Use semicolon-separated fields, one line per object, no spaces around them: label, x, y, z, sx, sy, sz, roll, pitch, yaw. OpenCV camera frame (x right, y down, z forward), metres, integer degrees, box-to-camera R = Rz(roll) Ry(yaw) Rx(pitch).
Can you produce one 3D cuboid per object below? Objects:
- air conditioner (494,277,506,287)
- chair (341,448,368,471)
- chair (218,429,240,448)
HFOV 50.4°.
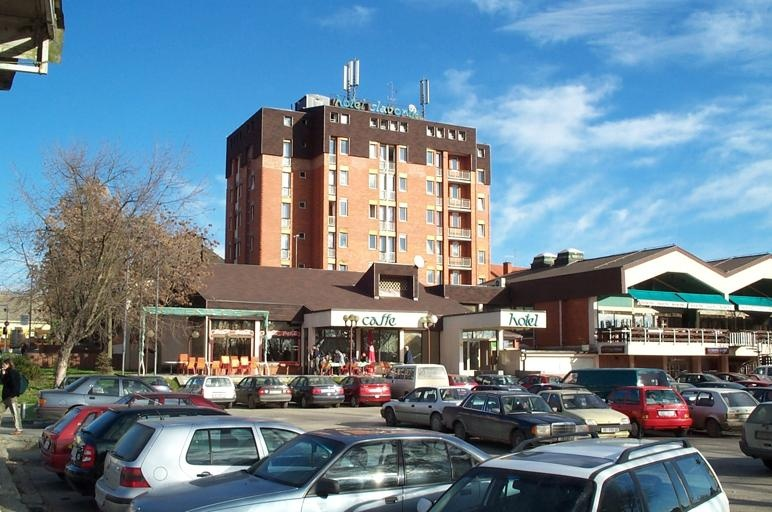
air conditioner;8.984;2.098;63.537;0.660;1.033;1.242;5;-9;-19
chair;-0.616;4.021;16.263;0.441;0.463;0.372;10;-15;-30
chair;-3.432;3.964;17.797;0.383;0.355;0.378;-1;0;-7
